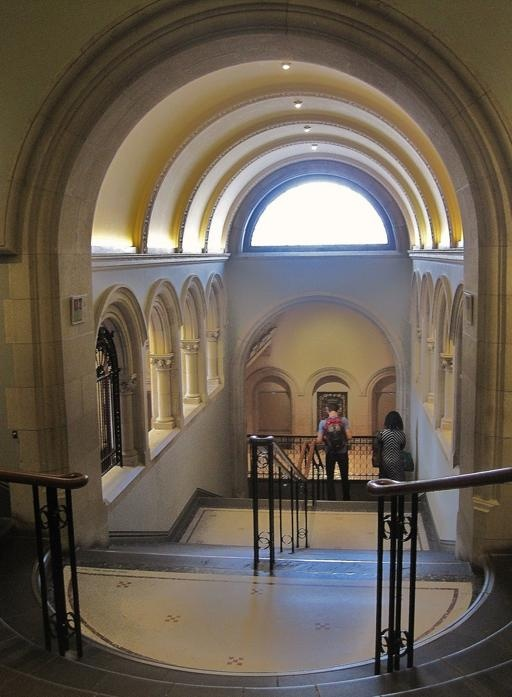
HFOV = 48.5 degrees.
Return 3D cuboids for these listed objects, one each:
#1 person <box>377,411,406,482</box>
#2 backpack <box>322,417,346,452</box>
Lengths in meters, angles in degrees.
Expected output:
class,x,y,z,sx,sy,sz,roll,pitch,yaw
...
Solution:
class,x,y,z,sx,sy,sz,roll,pitch,yaw
person,1.841,1.377,7.577,0.411,1.286,0.352,-5,27,8
backpack,1.243,1.339,9.028,0.381,0.540,0.555,0,-4,1
